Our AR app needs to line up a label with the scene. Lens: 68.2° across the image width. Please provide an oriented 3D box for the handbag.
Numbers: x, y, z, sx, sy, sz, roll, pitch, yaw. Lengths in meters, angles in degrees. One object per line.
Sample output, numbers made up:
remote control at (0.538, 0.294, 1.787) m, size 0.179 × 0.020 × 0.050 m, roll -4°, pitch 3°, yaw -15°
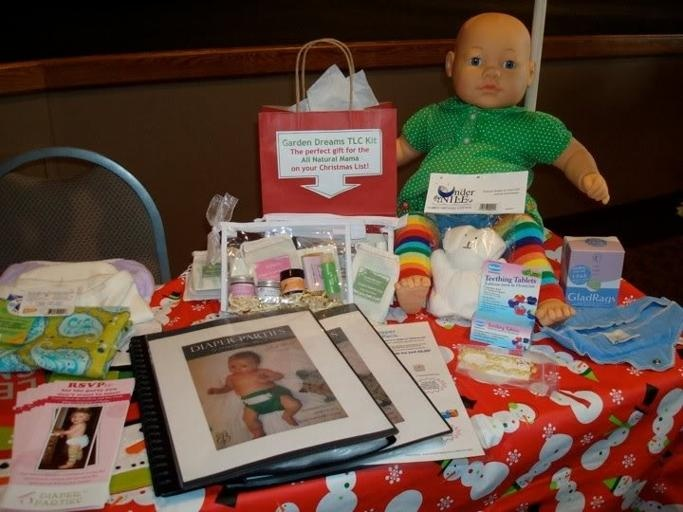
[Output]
handbag at (-0.040, -0.280, 1.178) m, size 0.332 × 0.378 × 0.129 m, roll -5°, pitch 14°, yaw -15°

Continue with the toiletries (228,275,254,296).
toiletries at (-0.202, 0.064, 1.019) m, size 0.044 × 0.040 × 0.043 m, roll -5°, pitch -9°, yaw 13°

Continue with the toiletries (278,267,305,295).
toiletries at (-0.099, 0.053, 1.009) m, size 0.050 × 0.048 × 0.052 m, roll -14°, pitch -19°, yaw 30°

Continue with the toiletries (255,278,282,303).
toiletries at (-0.145, 0.071, 1.004) m, size 0.046 × 0.040 × 0.045 m, roll -2°, pitch -1°, yaw 4°

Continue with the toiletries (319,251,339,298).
toiletries at (-0.024, 0.042, 1.055) m, size 0.041 × 0.073 × 0.090 m, roll -3°, pitch 29°, yaw -3°
